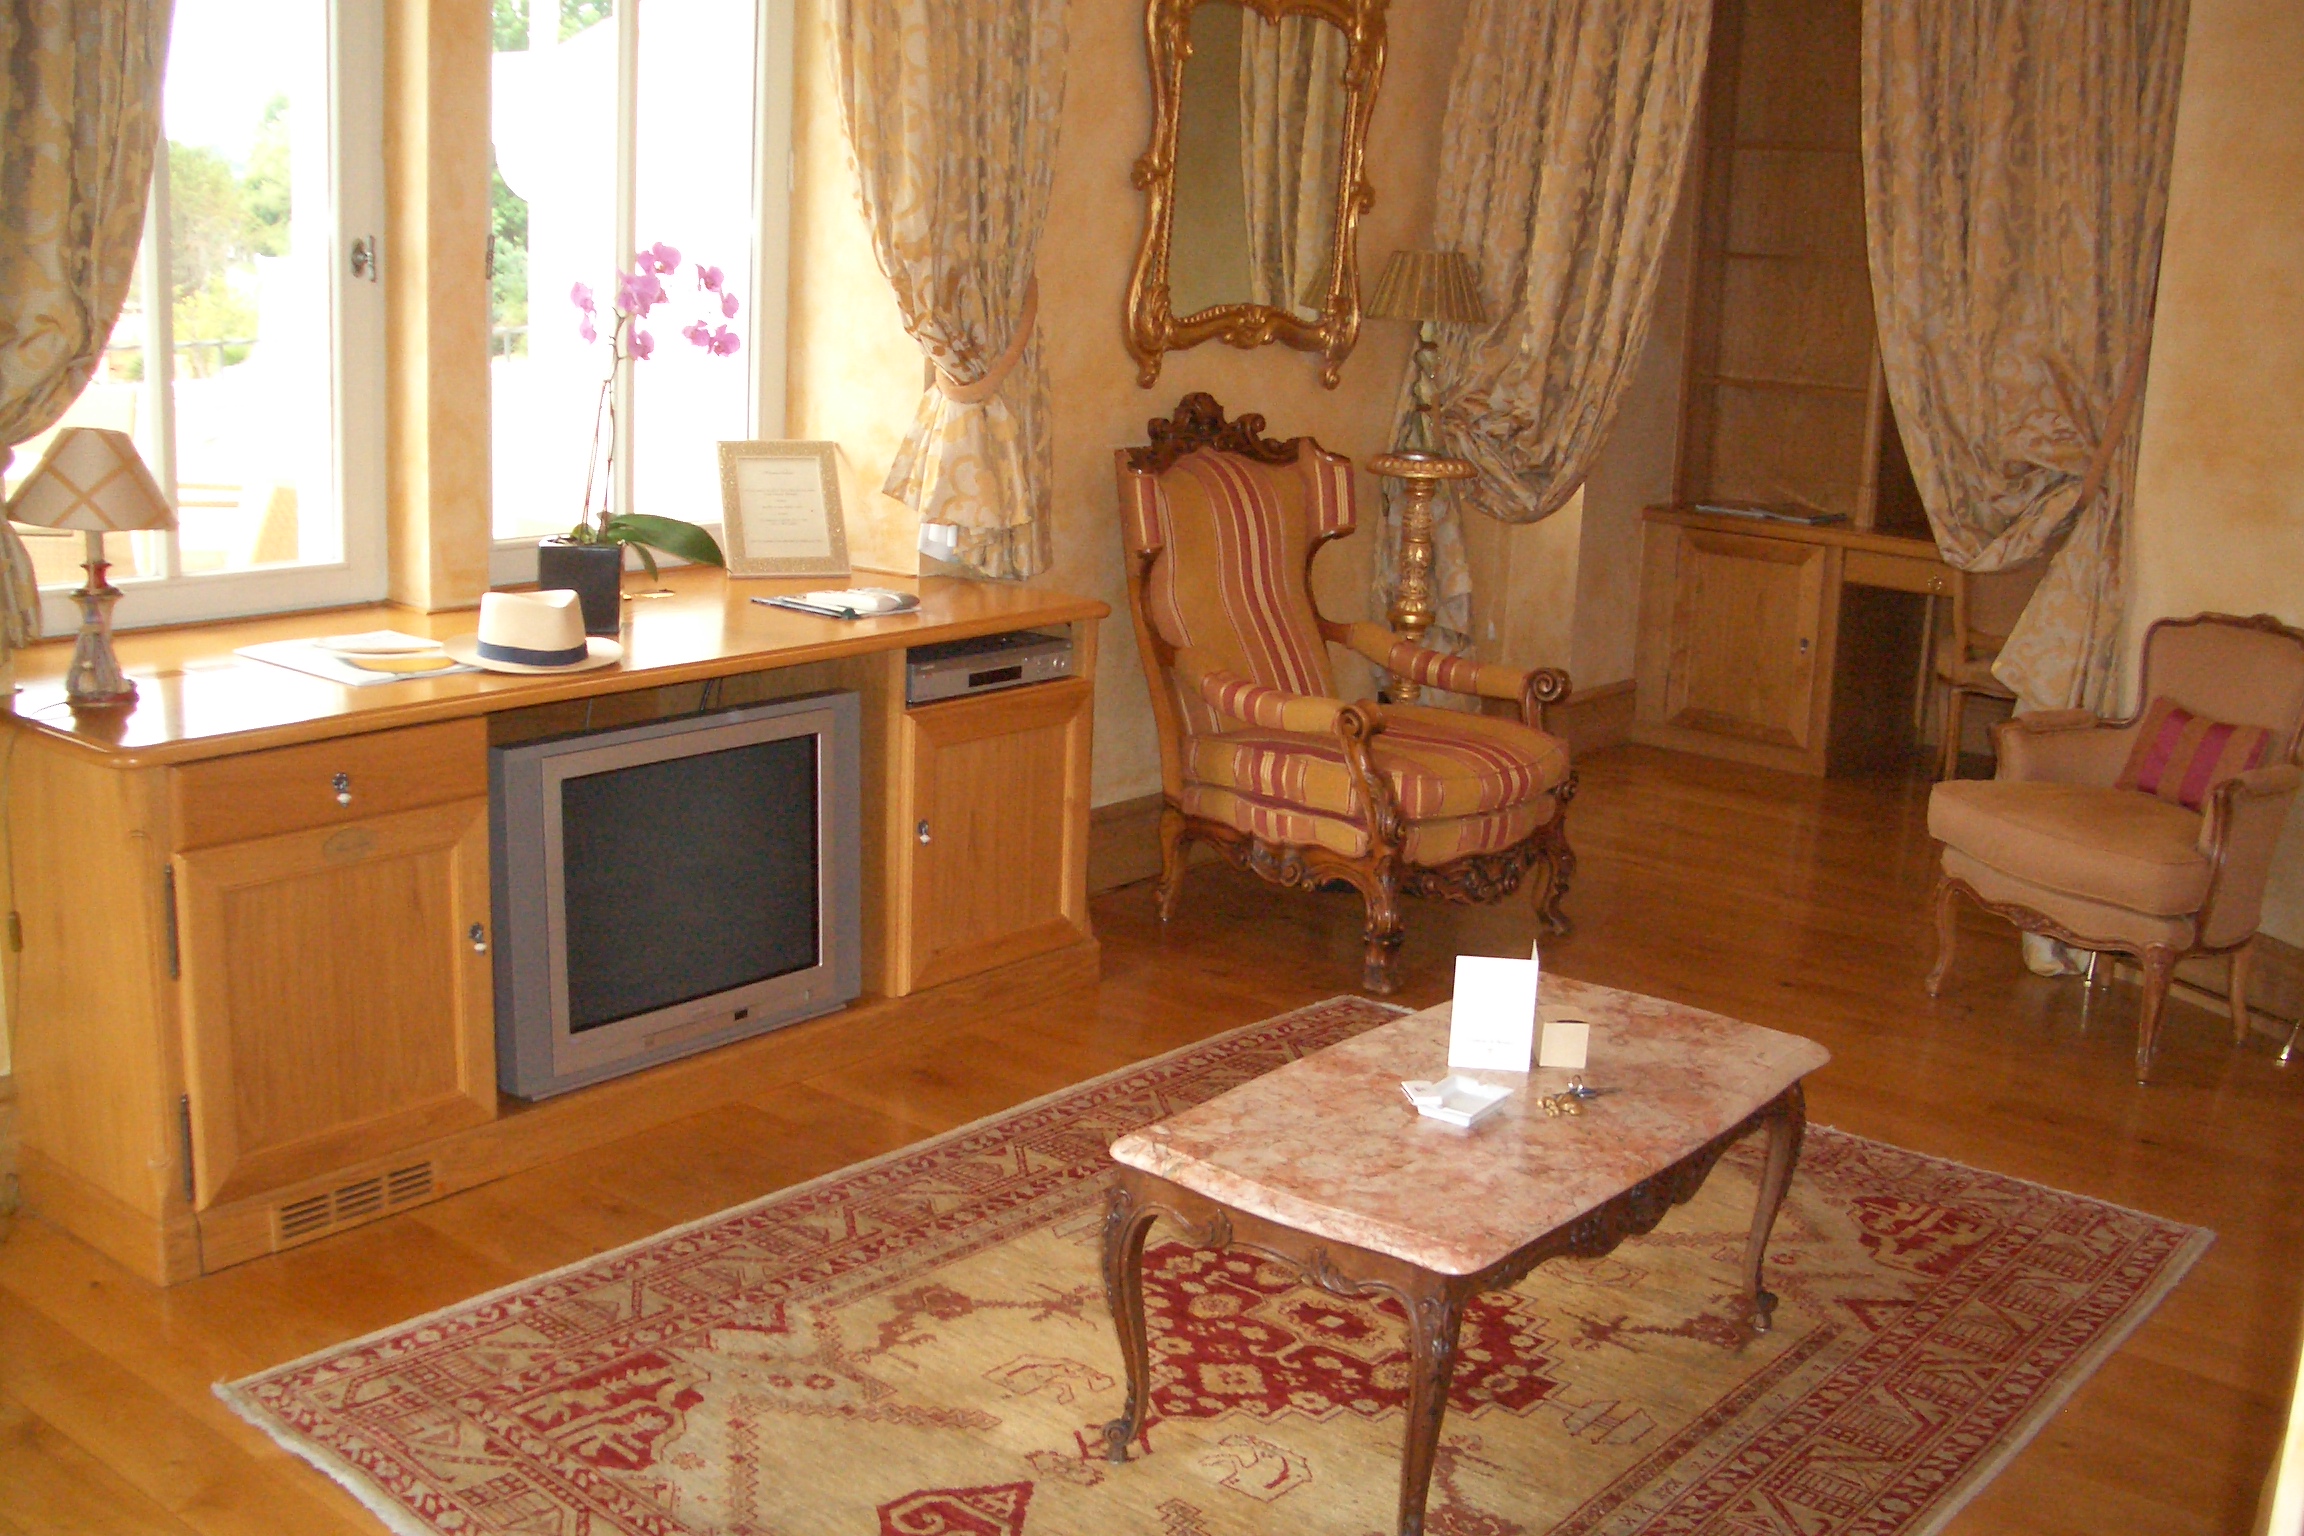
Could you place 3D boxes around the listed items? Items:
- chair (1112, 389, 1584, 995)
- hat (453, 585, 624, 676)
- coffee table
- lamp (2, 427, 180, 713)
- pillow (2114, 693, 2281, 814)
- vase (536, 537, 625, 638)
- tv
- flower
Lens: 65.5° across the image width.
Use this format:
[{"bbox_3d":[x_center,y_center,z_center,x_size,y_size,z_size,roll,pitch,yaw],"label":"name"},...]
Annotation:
[{"bbox_3d":[0.515,-0.317,6.011,0.997,1.781,1.366,-16,24,-38],"label":"chair"},{"bbox_3d":[-1.497,-0.364,4.372,0.291,0.095,0.262,-3,12,-6],"label":"hat"},{"bbox_3d":[0.506,0.733,3.558,0.960,0.659,1.557,12,17,40],"label":"coffee table"},{"bbox_3d":[-2.361,-0.479,4.043,0.305,0.605,0.469,-11,21,-28],"label":"lamp"},{"bbox_3d":[3.227,-0.033,5.636,0.147,0.300,0.482,20,5,-21],"label":"pillow"},{"bbox_3d":[-1.550,-0.481,4.655,0.318,0.274,0.165,0,12,-5],"label":"vase"},{"bbox_3d":[-1.252,0.330,4.626,0.543,0.806,1.036,11,17,37],"label":"tv"},{"bbox_3d":[-1.441,-1.052,5.241,0.533,0.962,0.949,-4,18,-12],"label":"flower"}]
